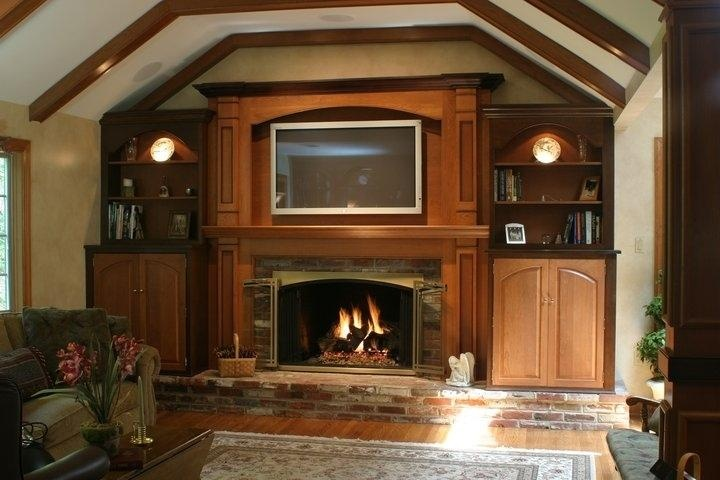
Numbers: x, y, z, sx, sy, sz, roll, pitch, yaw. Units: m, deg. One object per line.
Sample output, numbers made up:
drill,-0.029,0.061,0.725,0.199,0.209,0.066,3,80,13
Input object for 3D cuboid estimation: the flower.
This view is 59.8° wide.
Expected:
flower,-1.685,0.920,4.112,0.546,0.434,0.454,10,-6,-27

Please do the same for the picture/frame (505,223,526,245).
picture/frame,1.565,-0.063,6.318,0.246,0.252,0.020,1,-16,0

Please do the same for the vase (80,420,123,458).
vase,-1.660,1.315,4.082,0.296,0.179,0.284,-4,-11,-31

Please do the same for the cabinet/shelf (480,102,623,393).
cabinet/shelf,1.834,0.046,6.199,1.267,2.744,0.599,0,6,8

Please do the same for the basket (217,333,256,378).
basket,-1.281,1.198,6.624,0.460,0.426,0.434,0,-2,-5

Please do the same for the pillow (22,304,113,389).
pillow,-2.492,0.907,5.483,0.716,0.657,0.687,-1,-8,-18

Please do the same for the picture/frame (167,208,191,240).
picture/frame,-1.990,-0.174,6.907,0.373,0.362,0.042,-1,-14,6

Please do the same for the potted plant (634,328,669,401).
potted plant,2.844,1.247,6.057,0.234,0.488,0.258,-21,-27,28

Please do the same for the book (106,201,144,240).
book,-2.578,-0.202,7.127,0.514,0.453,0.362,1,1,-8

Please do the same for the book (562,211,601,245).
book,2.172,-0.100,6.188,0.321,0.395,0.427,2,-6,12
